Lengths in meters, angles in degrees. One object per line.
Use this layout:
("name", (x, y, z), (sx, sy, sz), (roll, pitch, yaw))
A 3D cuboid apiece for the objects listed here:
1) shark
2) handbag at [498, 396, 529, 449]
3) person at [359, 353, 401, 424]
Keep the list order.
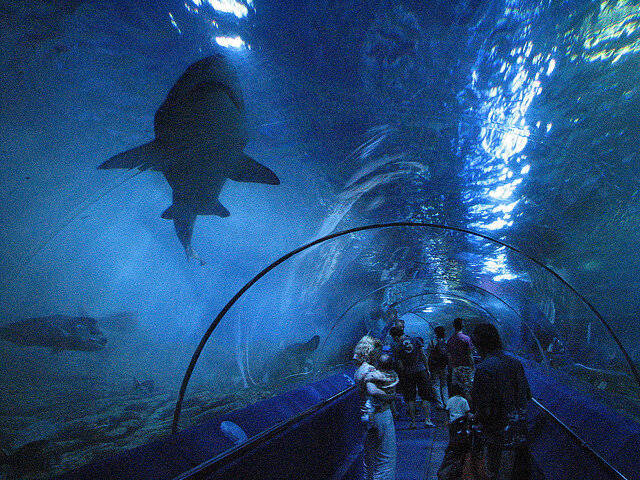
("shark", (-1.784, -1.016, 4.500), (1.716, 1.965, 1.276), (1, 9, -45))
("handbag", (2.283, 2.252, 4.456), (0.391, 0.438, 0.476), (1, -16, 1))
("person", (0.805, 2.180, 5.011), (0.517, 1.309, 0.637), (-4, -11, 1))
